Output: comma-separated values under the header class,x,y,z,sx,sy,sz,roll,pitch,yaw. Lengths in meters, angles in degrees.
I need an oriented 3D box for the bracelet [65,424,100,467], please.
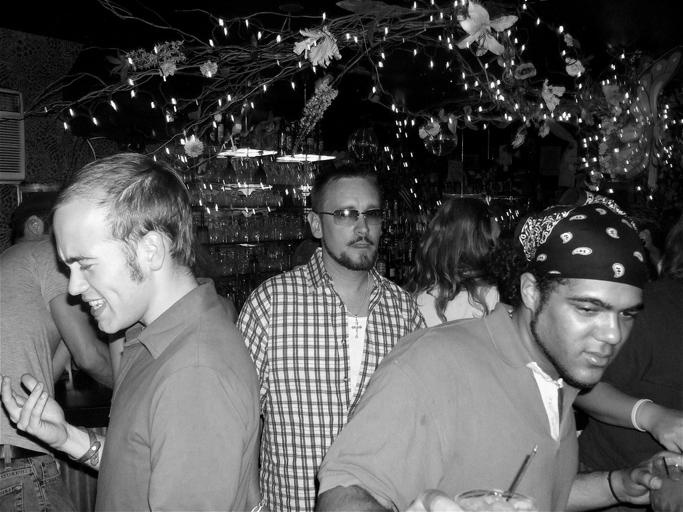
class,x,y,z,sx,sy,sz,roll,pitch,yaw
bracelet,-0.943,0.718,2.239,0.131,0.111,0.056,22,2,37
